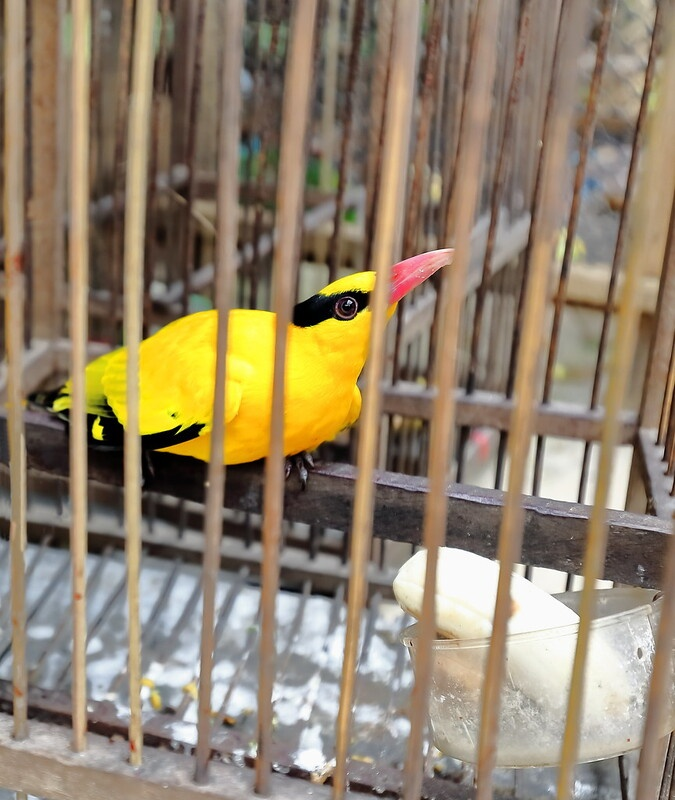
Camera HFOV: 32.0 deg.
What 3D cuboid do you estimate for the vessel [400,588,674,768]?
[{"bbox_3d":[0.206,0.244,1.183,0.207,0.082,0.184,-5,-4,-28],"label":"vessel"}]
